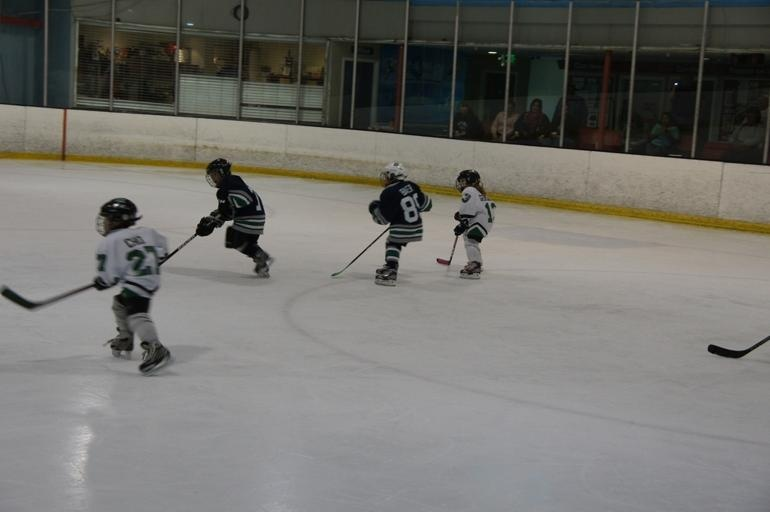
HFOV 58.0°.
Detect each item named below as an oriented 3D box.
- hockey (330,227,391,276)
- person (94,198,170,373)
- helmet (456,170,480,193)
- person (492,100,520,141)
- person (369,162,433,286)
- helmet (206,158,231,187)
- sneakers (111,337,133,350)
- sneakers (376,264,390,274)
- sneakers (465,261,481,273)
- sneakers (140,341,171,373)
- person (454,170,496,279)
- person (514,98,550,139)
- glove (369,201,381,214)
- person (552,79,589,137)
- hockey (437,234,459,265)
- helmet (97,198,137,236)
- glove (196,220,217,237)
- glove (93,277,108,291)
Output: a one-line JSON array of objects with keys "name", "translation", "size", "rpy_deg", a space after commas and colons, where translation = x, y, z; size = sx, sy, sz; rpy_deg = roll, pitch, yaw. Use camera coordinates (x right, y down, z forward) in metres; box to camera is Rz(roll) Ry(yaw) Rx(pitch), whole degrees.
[{"name": "hockey", "translation": [-0.267, -0.015, 6.728], "size": [0.223, 0.203, 1.557], "rpy_deg": [-19, -7, -24]}, {"name": "person", "translation": [-1.575, 0.175, 4.371], "size": [0.572, 1.043, 0.408], "rpy_deg": [11, 15, 34]}, {"name": "helmet", "translation": [0.847, -0.778, 7.154], "size": [0.271, 0.233, 0.204], "rpy_deg": [11, 1, 5]}, {"name": "person", "translation": [2.091, -2.318, 12.124], "size": [0.456, 0.692, 0.407], "rpy_deg": [16, 14, 13]}, {"name": "person", "translation": [0.104, -0.320, 6.626], "size": [0.473, 1.089, 0.698], "rpy_deg": [9, 14, 26]}, {"name": "helmet", "translation": [-1.560, -0.767, 6.490], "size": [0.193, 0.285, 0.394], "rpy_deg": [0, 12, -12]}, {"name": "sneakers", "translation": [-1.682, 0.562, 4.438], "size": [0.122, 0.073, 0.088], "rpy_deg": [-3, -6, 26]}, {"name": "sneakers", "translation": [-0.031, 0.140, 6.502], "size": [0.170, 0.071, 0.061], "rpy_deg": [0, 7, 30]}, {"name": "sneakers", "translation": [0.868, 0.108, 6.851], "size": [0.152, 0.102, 0.075], "rpy_deg": [4, 12, 6]}, {"name": "sneakers", "translation": [-1.431, 0.617, 4.338], "size": [0.224, 0.192, 0.171], "rpy_deg": [-5, 14, -31]}, {"name": "person", "translation": [0.886, -0.328, 6.995], "size": [0.387, 1.025, 0.554], "rpy_deg": [4, 13, 5]}, {"name": "person", "translation": [2.522, -2.309, 11.899], "size": [0.594, 0.759, 0.189], "rpy_deg": [7, 13, 17]}, {"name": "glove", "translation": [-0.104, -0.470, 6.601], "size": [0.097, 0.106, 0.186], "rpy_deg": [2, 12, -2]}, {"name": "person", "translation": [3.116, -2.443, 11.687], "size": [0.556, 0.964, 0.208], "rpy_deg": [6, 13, 14]}, {"name": "hockey", "translation": [0.687, -0.061, 7.524], "size": [0.314, 0.303, 0.084], "rpy_deg": [8, 16, 11]}, {"name": "helmet", "translation": [-1.682, -0.241, 4.391], "size": [0.290, 0.253, 0.222], "rpy_deg": [6, 10, -10]}, {"name": "glove", "translation": [-1.598, -0.250, 6.222], "size": [0.171, 0.155, 0.205], "rpy_deg": [1, 12, -9]}, {"name": "glove", "translation": [-1.759, 0.182, 4.296], "size": [0.080, 0.056, 0.081], "rpy_deg": [14, 15, 40]}]
